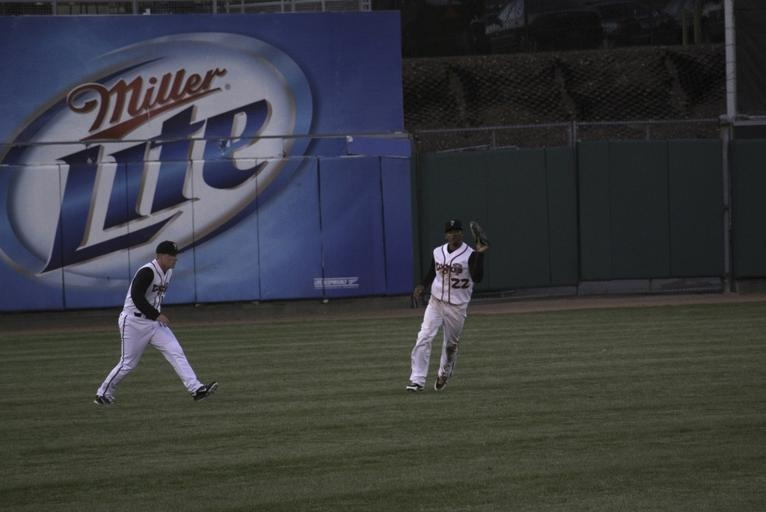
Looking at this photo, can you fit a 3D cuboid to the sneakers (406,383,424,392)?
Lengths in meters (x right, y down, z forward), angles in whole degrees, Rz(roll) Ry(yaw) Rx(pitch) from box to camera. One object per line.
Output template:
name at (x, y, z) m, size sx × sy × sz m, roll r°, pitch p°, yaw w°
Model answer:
sneakers at (0.677, 2.594, 22.203) m, size 0.399 × 0.173 × 0.150 m, roll 10°, pitch -8°, yaw -13°

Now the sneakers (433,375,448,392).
sneakers at (1.151, 2.499, 22.325) m, size 0.208 × 0.326 × 0.137 m, roll 11°, pitch 1°, yaw -12°

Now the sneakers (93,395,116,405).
sneakers at (-5.411, 2.800, 22.088) m, size 0.163 × 0.175 × 0.385 m, roll 9°, pitch 6°, yaw 13°

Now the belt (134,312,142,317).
belt at (-4.698, 1.129, 21.805) m, size 0.108 × 0.086 × 0.027 m, roll 0°, pitch -2°, yaw 7°

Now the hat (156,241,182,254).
hat at (-4.126, -0.138, 21.816) m, size 0.399 × 0.212 × 0.262 m, roll -3°, pitch 11°, yaw -3°
